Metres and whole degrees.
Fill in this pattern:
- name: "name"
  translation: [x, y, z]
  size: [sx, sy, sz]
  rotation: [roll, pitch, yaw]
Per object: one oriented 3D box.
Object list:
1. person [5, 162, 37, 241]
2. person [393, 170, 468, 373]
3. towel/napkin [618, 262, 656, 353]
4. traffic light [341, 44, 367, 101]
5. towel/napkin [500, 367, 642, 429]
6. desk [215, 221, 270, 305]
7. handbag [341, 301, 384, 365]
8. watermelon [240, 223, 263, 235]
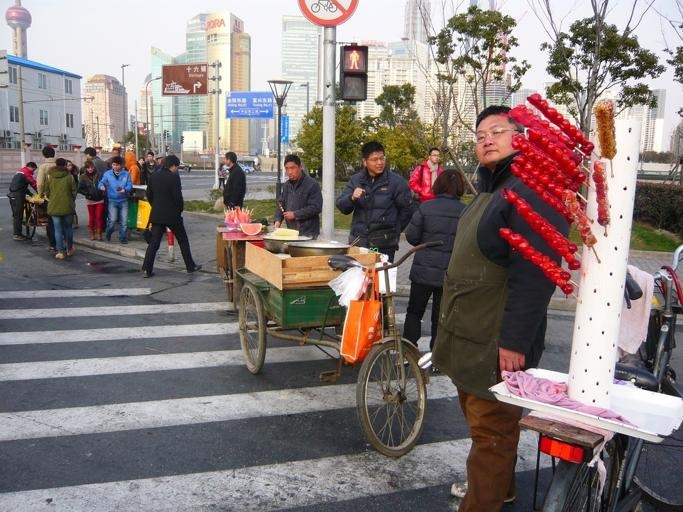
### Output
- name: "person"
  translation: [-7.969, -1.509, 14.778]
  size: [0.770, 2.208, 0.733]
  rotation: [10, 11, -20]
- name: "person"
  translation: [0.917, 0.144, 6.240]
  size: [0.600, 1.900, 0.690]
  rotation: [0, 1, -20]
- name: "towel/napkin"
  translation: [2.006, 0.378, 4.154]
  size: [0.449, 0.653, 0.180]
  rotation: [9, -6, -41]
- name: "traffic light"
  translation: [0.178, -2.751, 9.162]
  size: [0.411, 0.869, 0.352]
  rotation: [0, 8, 1]
- name: "towel/napkin"
  translation: [1.148, 0.723, 3.089]
  size: [0.378, 0.045, 0.387]
  rotation: [14, 6, 44]
- name: "desk"
  translation: [-1.621, 0.100, 8.757]
  size: [0.812, 1.249, 1.249]
  rotation: [0, 11, -13]
- name: "handbag"
  translation: [0.166, 0.595, 4.775]
  size: [0.345, 0.526, 0.209]
  rotation: [-1, 8, -11]
- name: "watermelon"
  translation: [-1.242, -0.358, 8.265]
  size: [0.283, 0.170, 0.211]
  rotation: [0, 8, -1]
